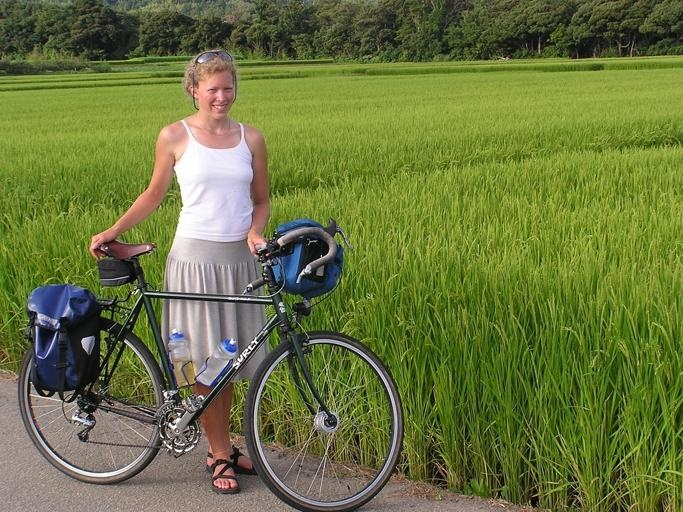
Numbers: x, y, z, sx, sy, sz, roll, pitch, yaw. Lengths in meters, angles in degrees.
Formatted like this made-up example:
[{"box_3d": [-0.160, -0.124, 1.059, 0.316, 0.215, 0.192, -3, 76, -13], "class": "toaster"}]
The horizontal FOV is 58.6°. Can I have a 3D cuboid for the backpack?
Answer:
[{"box_3d": [-1.602, 0.478, 3.524, 0.386, 0.573, 0.242, -5, 18, -26], "class": "backpack"}]

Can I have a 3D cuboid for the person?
[{"box_3d": [-0.929, 0.145, 3.682, 1.110, 2.672, 0.811, 2, 11, 2], "class": "person"}]

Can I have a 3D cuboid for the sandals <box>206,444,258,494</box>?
[{"box_3d": [-0.685, 1.279, 3.637, 0.130, 0.145, 0.398, 0, -5, -18], "class": "sandals"}]

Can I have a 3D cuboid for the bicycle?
[{"box_3d": [-0.847, 0.567, 3.533, 2.307, 1.716, 0.659, 8, 17, 13], "class": "bicycle"}]
